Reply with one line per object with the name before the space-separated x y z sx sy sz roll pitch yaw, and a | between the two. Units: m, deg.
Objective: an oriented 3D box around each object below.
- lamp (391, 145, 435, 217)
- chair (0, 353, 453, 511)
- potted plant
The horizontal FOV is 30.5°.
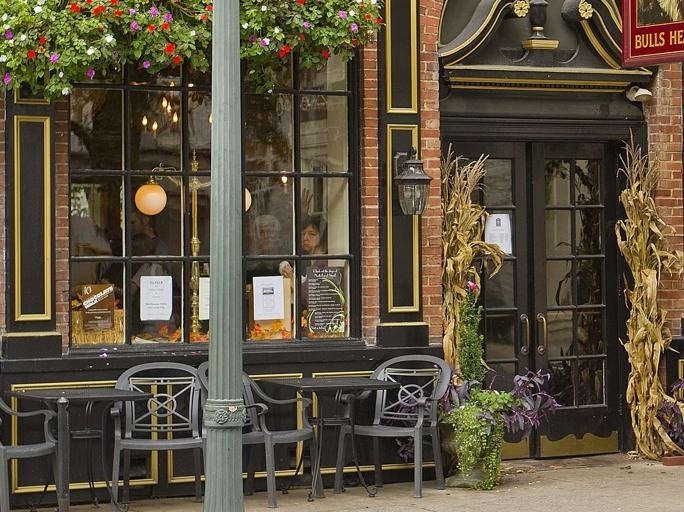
lamp | 0.606 -0.690 10.789 0.354 0.670 0.389 -1 4 -22
chair | -0.688 1.457 10.315 3.294 1.239 0.747 -2 -6 -14
potted plant | 1.399 1.514 10.701 0.850 1.194 1.158 5 -9 -13
